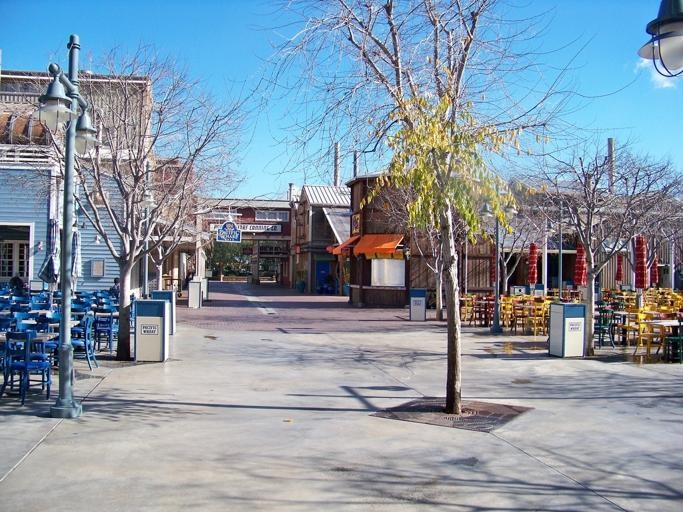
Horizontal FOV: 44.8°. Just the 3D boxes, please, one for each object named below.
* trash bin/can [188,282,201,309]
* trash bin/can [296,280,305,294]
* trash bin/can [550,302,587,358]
[{"bbox_3d":[-6.296,1.681,35.495,0.509,1.167,0.695,1,-5,-14],"label":"trash bin/can"},{"bbox_3d":[-2.910,2.161,57.959,0.685,0.798,0.685,0,0,-12],"label":"trash bin/can"},{"bbox_3d":[5.694,1.921,21.298,0.841,1.475,0.844,3,-1,-36],"label":"trash bin/can"}]
